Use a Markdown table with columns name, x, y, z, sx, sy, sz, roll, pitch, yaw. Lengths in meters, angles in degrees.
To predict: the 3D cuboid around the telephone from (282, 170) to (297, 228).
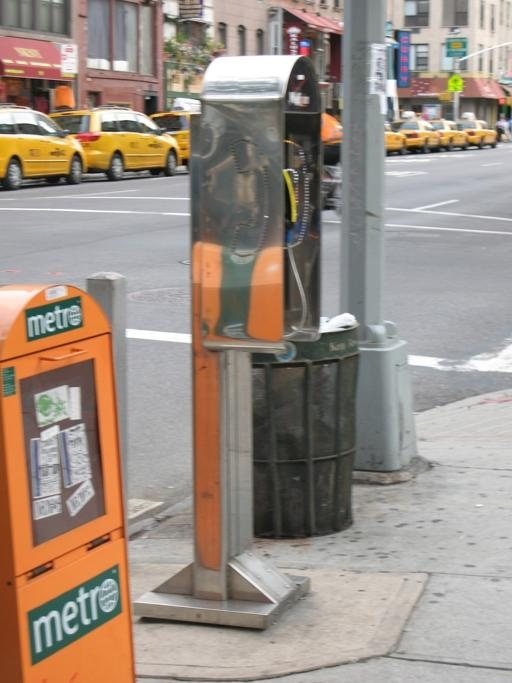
| name | x | y | z | sx | sy | sz | roll | pitch | yaw |
| --- | --- | --- | --- | --- | --- | --- | --- | --- | --- |
| telephone | 0.130 | -0.510 | 3.517 | 0.053 | 0.181 | 0.041 | -4 | 10 | 8 |

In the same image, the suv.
| name | x | y | z | sx | sy | sz | roll | pitch | yaw |
| --- | --- | --- | --- | --- | --- | --- | --- | --- | --- |
| suv | -3.911 | -5.645 | 28.596 | 2.019 | 1.499 | 3.667 | 5 | 12 | 34 |

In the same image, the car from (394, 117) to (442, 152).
| name | x | y | z | sx | sy | sz | roll | pitch | yaw |
| --- | --- | --- | --- | --- | --- | --- | --- | --- | --- |
| car | 8.188 | -10.099 | 49.608 | 1.337 | 0.927 | 2.997 | 2 | 17 | 17 |
